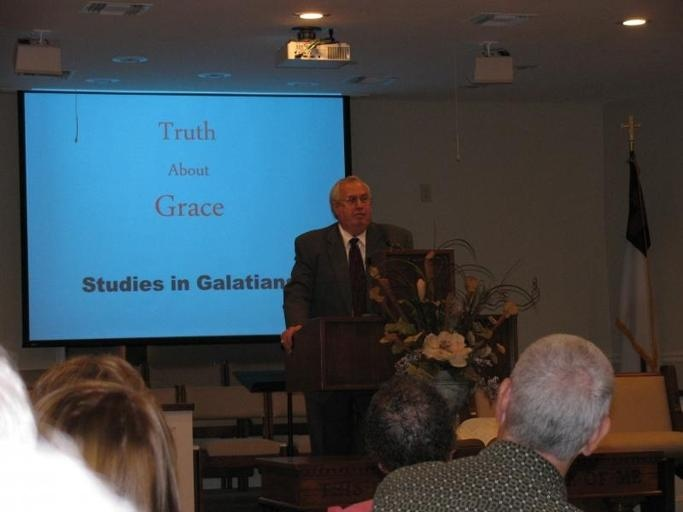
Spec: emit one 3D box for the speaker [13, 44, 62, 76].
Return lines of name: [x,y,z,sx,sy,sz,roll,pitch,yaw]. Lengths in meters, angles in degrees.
speaker: [-2.275,-1.459,5.605,0.254,0.224,0.254,0,2,-5]

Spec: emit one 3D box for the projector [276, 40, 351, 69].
projector: [-0.206,-1.532,5.657,0.550,0.140,0.306,-4,-2,8]
